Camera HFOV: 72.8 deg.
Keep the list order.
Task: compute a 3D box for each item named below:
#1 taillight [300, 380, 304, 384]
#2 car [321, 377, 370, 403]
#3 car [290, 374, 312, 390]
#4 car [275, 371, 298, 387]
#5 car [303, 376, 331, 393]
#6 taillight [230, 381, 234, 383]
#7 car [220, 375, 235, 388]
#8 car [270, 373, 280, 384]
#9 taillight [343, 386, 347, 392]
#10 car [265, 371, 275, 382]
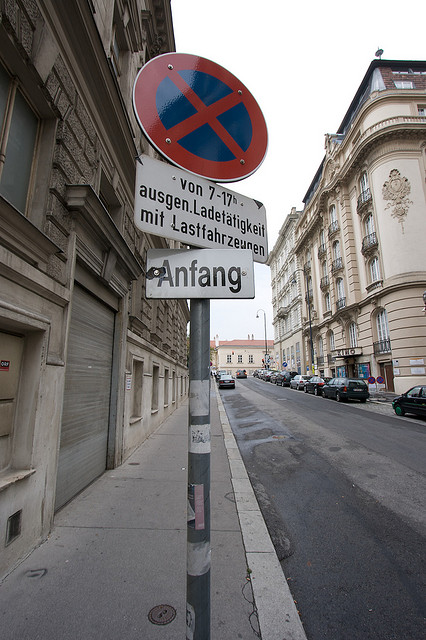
[{"bbox_3d":[9.854,6.809,31.933,0.132,0.328,0.281,2,-2,-24],"label":"taillight"},{"bbox_3d":[9.576,4.892,21.318,1.196,1.584,3.321,2,-8,-1],"label":"car"},{"bbox_3d":[9.904,6.867,32.896,1.145,1.352,2.500,0,-4,-8],"label":"car"},{"bbox_3d":[9.540,7.389,37.392,1.231,1.640,2.538,1,-4,-8],"label":"car"},{"bbox_3d":[9.605,5.802,26.516,1.096,1.367,2.535,1,-6,-8],"label":"car"},{"bbox_3d":[2.221,7.355,34.699,0.388,0.170,0.248,-6,-10,3],"label":"taillight"},{"bbox_3d":[1.673,7.512,35.485,1.757,1.376,1.720,-6,-10,4],"label":"car"},{"bbox_3d":[9.891,9.037,45.908,1.044,1.316,2.180,1,-5,1],"label":"car"},{"bbox_3d":[9.189,4.741,20.058,0.222,0.364,0.228,-10,-11,37],"label":"taillight"},{"bbox_3d":[10.257,9.894,51.630,1.539,2.094,1.483,-1,-3,-9],"label":"car"}]
